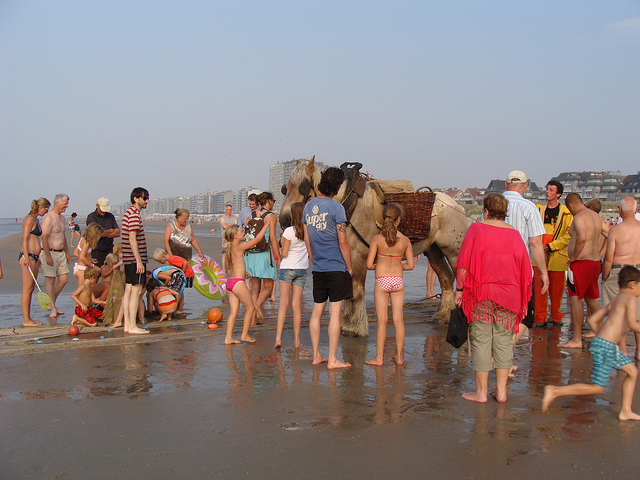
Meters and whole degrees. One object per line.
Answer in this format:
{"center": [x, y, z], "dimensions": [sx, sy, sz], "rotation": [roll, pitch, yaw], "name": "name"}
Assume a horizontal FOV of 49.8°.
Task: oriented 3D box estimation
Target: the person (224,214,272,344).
{"center": [-1.255, 0.698, 10.890], "dimensions": [0.528, 1.872, 0.553], "rotation": [-1, 11, -6], "name": "person"}

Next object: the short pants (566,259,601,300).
{"center": [4.167, 0.574, 10.793], "dimensions": [0.481, 0.703, 0.405], "rotation": [-3, 15, -13], "name": "short pants"}

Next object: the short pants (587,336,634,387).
{"center": [3.466, 1.468, 8.339], "dimensions": [0.488, 0.545, 0.409], "rotation": [1, 6, -21], "name": "short pants"}

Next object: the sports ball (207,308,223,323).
{"center": [-1.890, 1.370, 12.443], "dimensions": [0.222, 0.300, 0.316], "rotation": [-1, 12, -9], "name": "sports ball"}

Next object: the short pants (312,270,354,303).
{"center": [0.160, 0.601, 9.832], "dimensions": [0.601, 0.482, 0.385], "rotation": [7, 14, 36], "name": "short pants"}

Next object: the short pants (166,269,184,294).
{"center": [-2.748, 0.771, 12.987], "dimensions": [0.221, 0.421, 0.317], "rotation": [23, -4, 16], "name": "short pants"}

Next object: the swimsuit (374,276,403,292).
{"center": [0.982, 0.609, 9.719], "dimensions": [0.381, 0.225, 0.159], "rotation": [2, 11, 6], "name": "swimsuit"}

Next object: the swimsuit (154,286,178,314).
{"center": [-2.886, 1.142, 12.853], "dimensions": [0.414, 0.455, 0.268], "rotation": [0, 11, 0], "name": "swimsuit"}

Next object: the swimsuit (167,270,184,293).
{"center": [-2.743, 0.771, 12.990], "dimensions": [0.239, 0.455, 0.336], "rotation": [16, 1, 20], "name": "swimsuit"}

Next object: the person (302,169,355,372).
{"center": [0.124, 0.359, 9.980], "dimensions": [0.737, 2.838, 0.664], "rotation": [6, 12, 28], "name": "person"}

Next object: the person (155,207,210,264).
{"center": [-2.662, 0.197, 13.534], "dimensions": [0.758, 1.618, 0.548], "rotation": [-5, 11, -23], "name": "person"}

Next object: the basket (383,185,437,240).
{"center": [1.701, -0.553, 12.034], "dimensions": [0.756, 0.754, 0.725], "rotation": [-2, 2, 31], "name": "basket"}

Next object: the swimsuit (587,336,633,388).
{"center": [3.462, 1.462, 8.383], "dimensions": [0.591, 0.638, 0.481], "rotation": [3, 1, -24], "name": "swimsuit"}

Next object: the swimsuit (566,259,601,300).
{"center": [4.169, 0.580, 10.788], "dimensions": [0.466, 0.669, 0.378], "rotation": [-3, 11, -22], "name": "swimsuit"}

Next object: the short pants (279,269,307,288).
{"center": [-0.397, 0.557, 10.466], "dimensions": [0.370, 0.301, 0.272], "rotation": [4, 6, -7], "name": "short pants"}

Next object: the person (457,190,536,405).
{"center": [2.214, 0.676, 8.710], "dimensions": [0.952, 2.523, 0.735], "rotation": [2, -4, 1], "name": "person"}

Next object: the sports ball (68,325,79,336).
{"center": [-4.035, 1.495, 11.320], "dimensions": [0.135, 0.173, 0.142], "rotation": [0, -2, 0], "name": "sports ball"}

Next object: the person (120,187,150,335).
{"center": [-3.081, 0.346, 11.499], "dimensions": [0.465, 2.401, 0.521], "rotation": [-3, 11, -17], "name": "person"}

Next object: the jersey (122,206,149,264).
{"center": [-3.105, -0.075, 11.474], "dimensions": [0.389, 0.984, 0.594], "rotation": [-2, 11, -10], "name": "jersey"}

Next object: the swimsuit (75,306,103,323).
{"center": [-4.039, 1.295, 12.082], "dimensions": [0.455, 0.277, 0.279], "rotation": [-6, 13, -28], "name": "swimsuit"}

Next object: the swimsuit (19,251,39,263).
{"center": [-5.200, 0.287, 12.401], "dimensions": [0.222, 0.186, 0.219], "rotation": [-1, 7, -6], "name": "swimsuit"}

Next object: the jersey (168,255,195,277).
{"center": [-2.616, 0.478, 13.109], "dimensions": [0.421, 0.164, 0.349], "rotation": [32, 22, -9], "name": "jersey"}

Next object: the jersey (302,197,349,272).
{"center": [0.068, -0.072, 9.736], "dimensions": [0.714, 1.017, 0.293], "rotation": [8, 14, 35], "name": "jersey"}

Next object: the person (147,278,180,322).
{"center": [-3.004, 1.129, 13.003], "dimensions": [0.664, 0.801, 0.532], "rotation": [15, 18, 24], "name": "person"}

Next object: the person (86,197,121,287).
{"center": [-4.302, 0.175, 13.704], "dimensions": [0.521, 1.975, 0.654], "rotation": [6, 12, 43], "name": "person"}

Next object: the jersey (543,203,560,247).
{"center": [4.102, -0.237, 12.143], "dimensions": [0.241, 0.719, 0.491], "rotation": [6, 2, -12], "name": "jersey"}

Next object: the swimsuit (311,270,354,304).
{"center": [0.132, 0.613, 9.780], "dimensions": [0.548, 0.443, 0.352], "rotation": [-2, 7, 18], "name": "swimsuit"}

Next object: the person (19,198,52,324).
{"center": [-5.106, 0.403, 12.280], "dimensions": [0.459, 2.226, 0.944], "rotation": [0, 11, 0], "name": "person"}

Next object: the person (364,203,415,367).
{"center": [0.984, 0.632, 9.763], "dimensions": [0.653, 2.297, 0.691], "rotation": [1, 11, 6], "name": "person"}

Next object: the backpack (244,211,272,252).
{"center": [-1.111, -0.146, 12.450], "dimensions": [0.551, 0.840, 0.452], "rotation": [-2, -7, 32], "name": "backpack"}

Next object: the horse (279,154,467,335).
{"center": [1.071, 0.110, 11.981], "dimensions": [3.715, 2.976, 1.042], "rotation": [2, 4, -21], "name": "horse"}

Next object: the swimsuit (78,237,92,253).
{"center": [-4.351, 0.086, 12.766], "dimensions": [0.193, 0.266, 0.148], "rotation": [20, 14, 16], "name": "swimsuit"}
